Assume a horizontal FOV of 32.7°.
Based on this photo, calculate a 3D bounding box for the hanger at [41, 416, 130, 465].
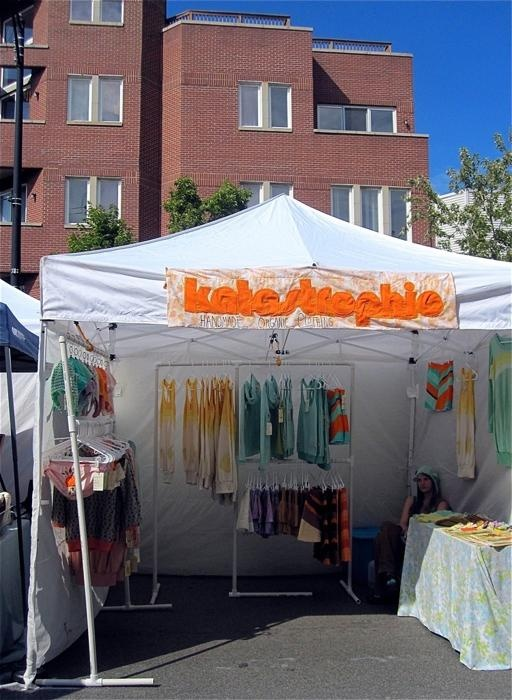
[{"bbox_3d":[-1.171,0.610,5.832,0.303,0.197,0.496,1,1,5],"label":"hanger"}]

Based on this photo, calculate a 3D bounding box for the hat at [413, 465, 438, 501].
[{"bbox_3d":[1.500,1.141,7.550,0.192,0.357,0.258,-3,-24,8],"label":"hat"}]

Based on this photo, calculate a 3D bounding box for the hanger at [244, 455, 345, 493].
[{"bbox_3d":[0.303,1.111,7.690,1.002,0.290,1.371,1,-6,6],"label":"hanger"}]
